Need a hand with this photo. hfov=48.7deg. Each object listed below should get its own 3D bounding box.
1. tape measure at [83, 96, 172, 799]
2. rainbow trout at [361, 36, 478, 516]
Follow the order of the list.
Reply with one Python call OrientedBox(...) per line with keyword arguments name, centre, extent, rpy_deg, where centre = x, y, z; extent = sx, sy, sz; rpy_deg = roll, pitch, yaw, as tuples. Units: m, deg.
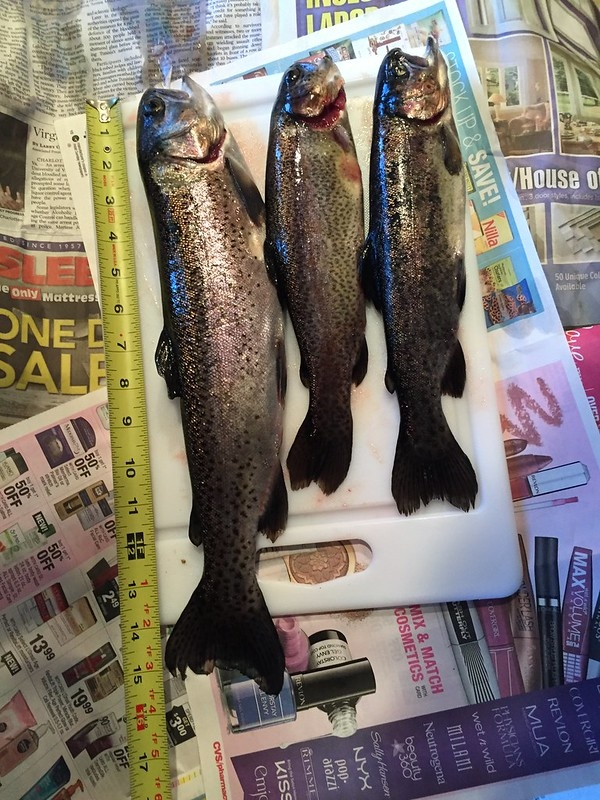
OrientedBox(name="tape measure", centre=(-0.344, 0.118, 1.246), extent=(0.118, 1.498, 0.035), rpy_deg=(-1, -9, -39))
OrientedBox(name="rainbow trout", centre=(0.209, -0.212, 1.175), extent=(0.193, 0.767, 0.333), rpy_deg=(-7, 21, 18))
